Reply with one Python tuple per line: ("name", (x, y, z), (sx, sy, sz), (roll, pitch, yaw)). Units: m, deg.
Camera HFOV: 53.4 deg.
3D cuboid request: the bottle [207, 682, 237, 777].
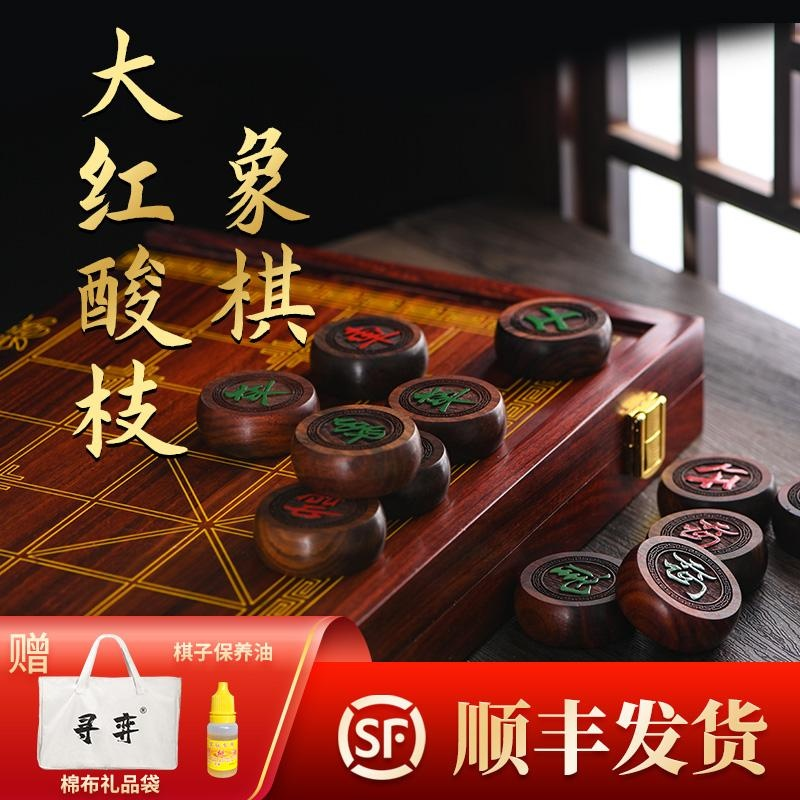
("bottle", (-0.183, 0.341, 0.819), (0.034, 0.095, 0.042), (-4, 24, -11))
